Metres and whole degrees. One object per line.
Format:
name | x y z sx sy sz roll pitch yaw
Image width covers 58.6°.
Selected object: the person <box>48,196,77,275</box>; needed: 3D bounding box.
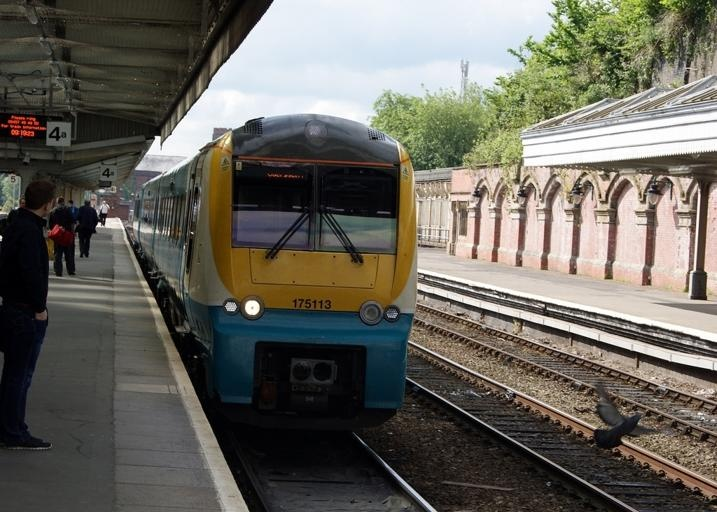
person | -8.382 -0.537 18.161 0.727 2.212 0.757 -7 17 -38
